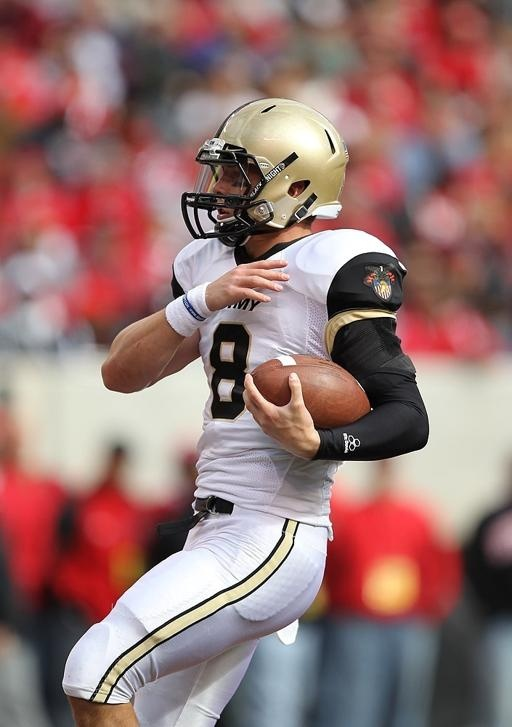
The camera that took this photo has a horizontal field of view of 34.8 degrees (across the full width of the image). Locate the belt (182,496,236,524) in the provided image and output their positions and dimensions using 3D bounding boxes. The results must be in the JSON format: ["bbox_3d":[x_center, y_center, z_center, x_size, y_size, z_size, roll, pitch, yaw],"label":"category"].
[{"bbox_3d":[-0.104,0.321,1.801,0.107,0.066,0.030,-2,87,3],"label":"belt"}]

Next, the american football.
[{"bbox_3d":[0.101,0.049,1.617,0.242,0.099,0.142,14,43,17],"label":"american football"}]
